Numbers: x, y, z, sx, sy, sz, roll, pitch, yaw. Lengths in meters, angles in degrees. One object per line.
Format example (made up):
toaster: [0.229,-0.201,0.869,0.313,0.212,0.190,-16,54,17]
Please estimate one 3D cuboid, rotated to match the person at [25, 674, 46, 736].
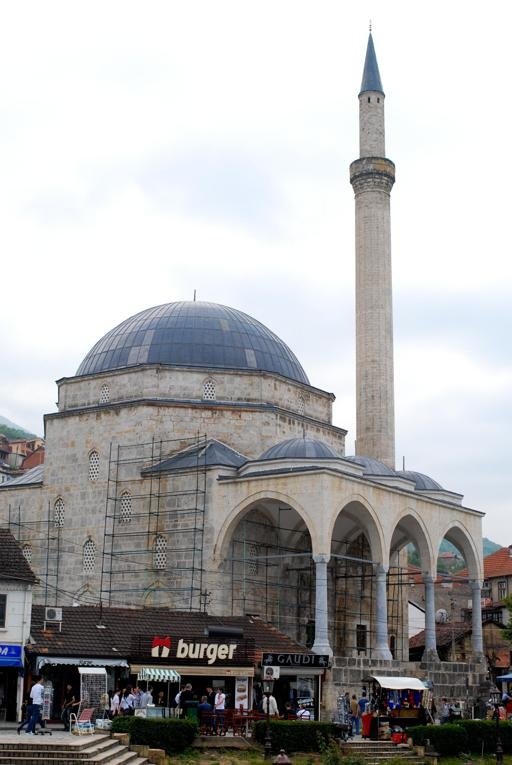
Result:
person: [-4.200,6.036,20.528,0.426,1.029,0.440,5,-11,1]
